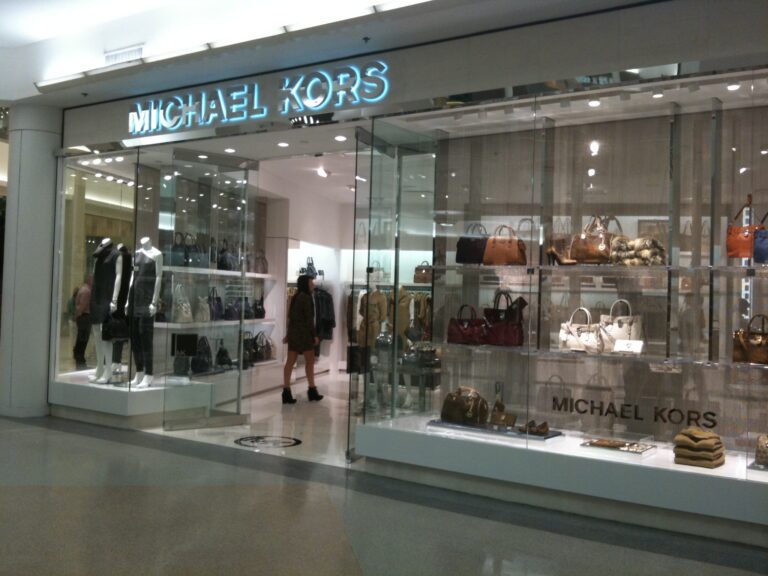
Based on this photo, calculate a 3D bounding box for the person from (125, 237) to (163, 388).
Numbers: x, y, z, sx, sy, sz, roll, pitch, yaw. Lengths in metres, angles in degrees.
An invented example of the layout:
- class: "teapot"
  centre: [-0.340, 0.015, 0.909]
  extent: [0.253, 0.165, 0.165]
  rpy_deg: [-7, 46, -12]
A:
- class: "person"
  centre: [-2.732, 0.286, 7.388]
  extent: [0.358, 1.718, 0.157]
  rpy_deg: [1, 2, -7]

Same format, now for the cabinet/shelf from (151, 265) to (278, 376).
- class: "cabinet/shelf"
  centre: [-2.076, 0.411, 7.683]
  extent: [0.508, 1.353, 1.550]
  rpy_deg: [-1, -2, 43]

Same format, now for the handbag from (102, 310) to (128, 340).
- class: "handbag"
  centre: [-3.148, 0.446, 7.554]
  extent: [0.292, 0.376, 0.193]
  rpy_deg: [1, -12, -8]

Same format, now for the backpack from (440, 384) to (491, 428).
- class: "backpack"
  centre: [0.729, 1.080, 5.733]
  extent: [0.477, 0.380, 0.253]
  rpy_deg: [-3, -18, 36]

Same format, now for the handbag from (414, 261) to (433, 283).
- class: "handbag"
  centre: [0.361, -0.160, 6.047]
  extent: [0.168, 0.237, 0.109]
  rpy_deg: [3, 7, 12]

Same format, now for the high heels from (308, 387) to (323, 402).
- class: "high heels"
  centre: [-0.985, 1.468, 9.129]
  extent: [0.216, 0.243, 0.415]
  rpy_deg: [1, 3, -6]

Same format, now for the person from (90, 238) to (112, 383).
- class: "person"
  centre: [-3.372, 0.257, 7.651]
  extent: [0.268, 1.706, 0.247]
  rpy_deg: [2, 2, -1]

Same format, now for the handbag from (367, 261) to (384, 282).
- class: "handbag"
  centre: [-0.082, -0.145, 6.023]
  extent: [0.159, 0.239, 0.168]
  rpy_deg: [-1, 0, 14]

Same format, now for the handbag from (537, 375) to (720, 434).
- class: "handbag"
  centre: [2.033, 0.993, 5.369]
  extent: [1.343, 0.387, 0.081]
  rpy_deg: [3, 2, 18]

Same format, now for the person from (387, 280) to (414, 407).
- class: "person"
  centre: [0.133, 0.534, 5.985]
  extent: [0.236, 1.095, 0.153]
  rpy_deg: [2, 2, 1]

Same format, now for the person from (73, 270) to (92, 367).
- class: "person"
  centre: [-3.635, 0.425, 7.752]
  extent: [0.241, 1.113, 0.102]
  rpy_deg: [3, 2, 32]

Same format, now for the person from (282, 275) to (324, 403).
- class: "person"
  centre: [-1.138, 0.708, 9.131]
  extent: [0.562, 1.772, 0.690]
  rpy_deg: [1, 2, -8]
